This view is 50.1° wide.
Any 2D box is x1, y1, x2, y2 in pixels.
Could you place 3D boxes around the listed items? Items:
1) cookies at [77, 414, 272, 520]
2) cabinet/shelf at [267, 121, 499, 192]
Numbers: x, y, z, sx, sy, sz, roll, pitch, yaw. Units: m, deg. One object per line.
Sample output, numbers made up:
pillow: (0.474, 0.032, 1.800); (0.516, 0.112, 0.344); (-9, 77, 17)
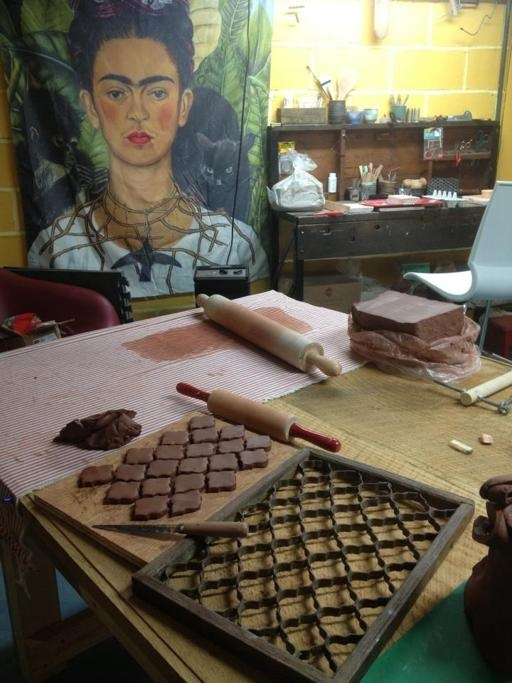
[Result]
cookies: (-0.123, 0.140, 0.802); (0.245, 0.078, 0.180); (-12, 22, -36)
cabinet/shelf: (0.813, -1.043, 3.445); (1.405, 0.670, 0.186); (0, -12, 2)
